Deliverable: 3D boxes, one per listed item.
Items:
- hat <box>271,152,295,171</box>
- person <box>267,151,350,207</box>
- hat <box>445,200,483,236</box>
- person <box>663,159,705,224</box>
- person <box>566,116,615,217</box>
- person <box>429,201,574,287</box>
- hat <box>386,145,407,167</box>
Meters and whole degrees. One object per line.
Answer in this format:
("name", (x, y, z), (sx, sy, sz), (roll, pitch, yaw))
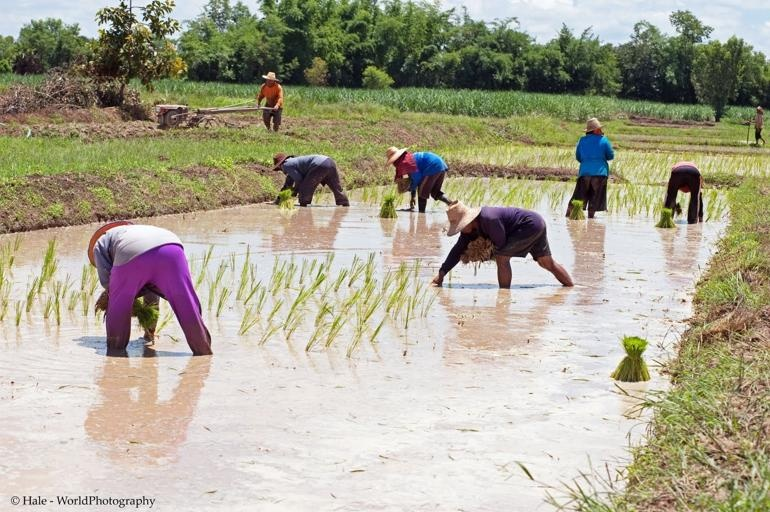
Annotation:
("hat", (-2.048, -1.915, 21.094), (0.349, 0.346, 0.644), (-4, 15, -23))
("person", (-1.499, -1.541, 21.184), (1.647, 1.003, 0.629), (0, 3, 16))
("hat", (1.115, -0.521, 14.890), (0.456, 0.558, 0.453), (3, 14, 4))
("person", (5.810, -1.256, 20.350), (0.732, 1.181, 0.705), (11, 17, 34))
("person", (4.064, -1.718, 20.487), (0.707, 1.953, 0.389), (5, 15, 14))
("person", (1.753, -0.070, 15.188), (2.125, 1.316, 0.685), (1, 1, -15))
("hat", (0.217, -1.917, 20.065), (0.353, 0.331, 0.600), (1, 14, -1))
